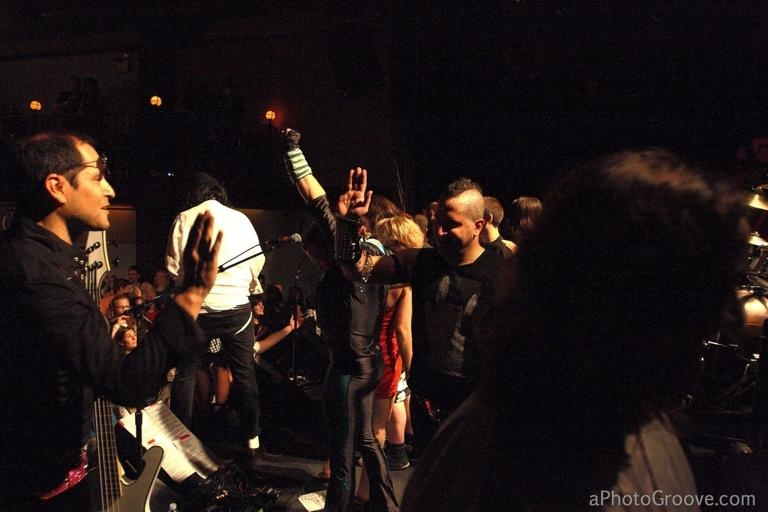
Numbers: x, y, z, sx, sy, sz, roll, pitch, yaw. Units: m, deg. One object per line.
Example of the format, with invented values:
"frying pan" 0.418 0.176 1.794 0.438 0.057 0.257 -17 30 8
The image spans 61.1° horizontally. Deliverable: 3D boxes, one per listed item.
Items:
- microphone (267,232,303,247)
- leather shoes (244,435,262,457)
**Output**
"microphone" -0.703 -0.112 4.548 0.258 0.066 0.067 -9 38 33
"leather shoes" -0.910 1.318 4.530 0.151 0.195 0.134 1 -4 -10
